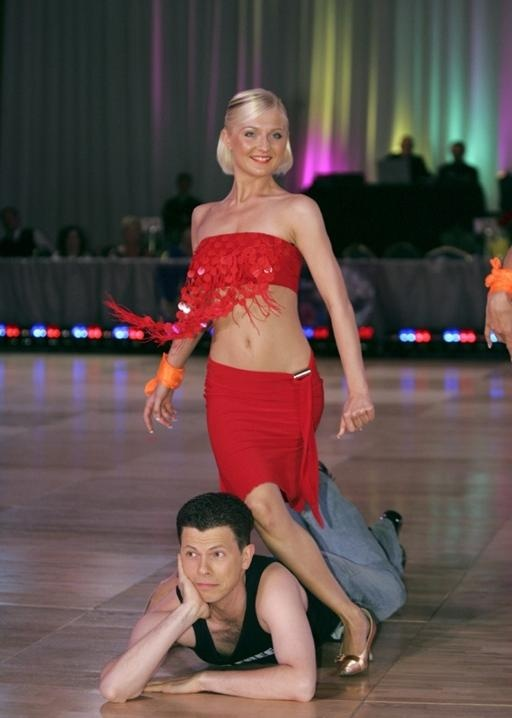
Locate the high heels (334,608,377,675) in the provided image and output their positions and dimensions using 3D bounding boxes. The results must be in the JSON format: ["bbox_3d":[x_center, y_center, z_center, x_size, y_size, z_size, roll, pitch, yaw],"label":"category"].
[{"bbox_3d":[0.224,0.632,1.892,0.063,0.065,0.166,-2,26,25],"label":"high heels"}]

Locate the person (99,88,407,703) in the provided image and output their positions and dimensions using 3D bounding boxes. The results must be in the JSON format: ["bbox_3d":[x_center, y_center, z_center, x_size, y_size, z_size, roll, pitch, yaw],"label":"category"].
[{"bbox_3d":[0.017,0.114,1.977,0.700,1.139,0.511,3,9,9],"label":"person"}]

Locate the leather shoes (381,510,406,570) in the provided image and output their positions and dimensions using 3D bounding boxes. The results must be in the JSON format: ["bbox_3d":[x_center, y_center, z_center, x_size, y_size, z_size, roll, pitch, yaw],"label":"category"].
[{"bbox_3d":[0.410,0.551,2.479,0.083,0.222,0.094,4,32,16],"label":"leather shoes"}]
